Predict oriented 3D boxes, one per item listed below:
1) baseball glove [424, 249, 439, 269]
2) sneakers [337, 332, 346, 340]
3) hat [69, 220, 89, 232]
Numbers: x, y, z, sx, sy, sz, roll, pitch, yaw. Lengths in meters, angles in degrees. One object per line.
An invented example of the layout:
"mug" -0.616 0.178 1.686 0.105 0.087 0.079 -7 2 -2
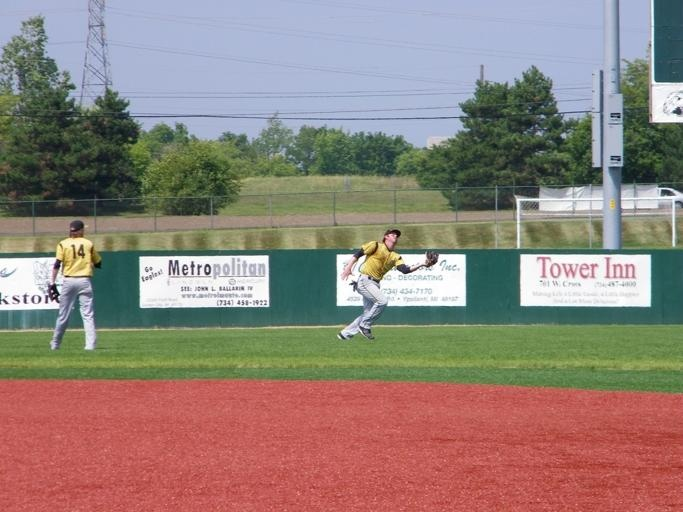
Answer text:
"baseball glove" 3.544 0.057 73.139 0.538 0.632 0.250 11 -2 1
"sneakers" -0.012 3.192 73.736 0.190 0.424 0.157 -44 35 -1
"hat" -10.341 -1.205 72.400 0.452 0.340 0.630 10 31 24
